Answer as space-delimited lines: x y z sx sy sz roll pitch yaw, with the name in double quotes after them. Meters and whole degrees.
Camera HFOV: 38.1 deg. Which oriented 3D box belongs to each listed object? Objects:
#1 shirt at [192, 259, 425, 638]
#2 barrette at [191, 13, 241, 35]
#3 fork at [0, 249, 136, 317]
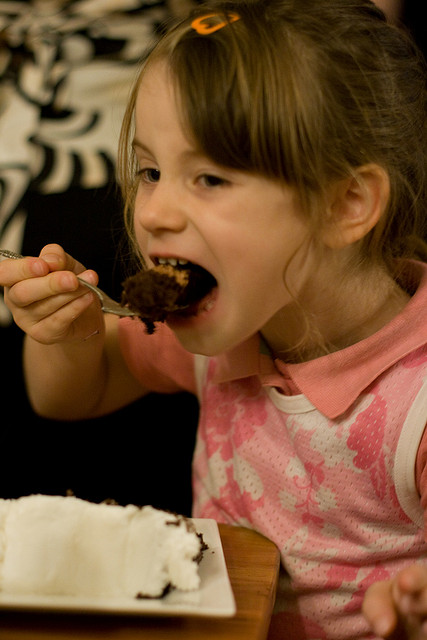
0.147 0.140 0.879 0.351 0.500 0.272 12 11 40 "shirt"
0.007 -0.361 0.759 0.062 0.011 0.035 -18 32 -16 "barrette"
-0.215 -0.056 0.945 0.225 0.025 0.031 35 12 5 "fork"
